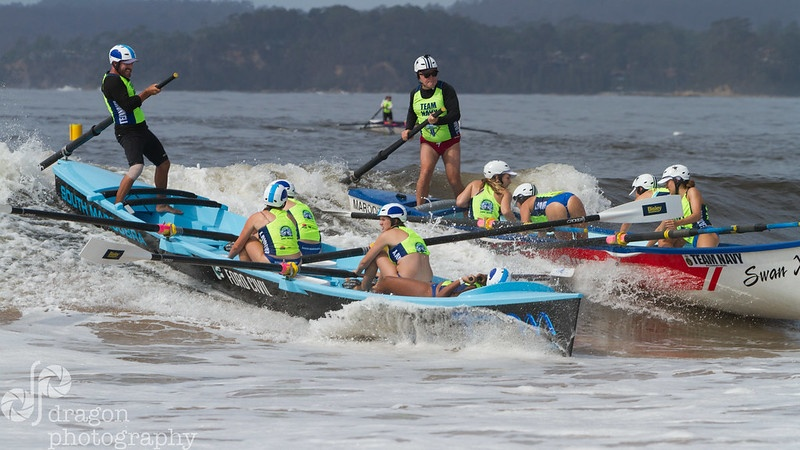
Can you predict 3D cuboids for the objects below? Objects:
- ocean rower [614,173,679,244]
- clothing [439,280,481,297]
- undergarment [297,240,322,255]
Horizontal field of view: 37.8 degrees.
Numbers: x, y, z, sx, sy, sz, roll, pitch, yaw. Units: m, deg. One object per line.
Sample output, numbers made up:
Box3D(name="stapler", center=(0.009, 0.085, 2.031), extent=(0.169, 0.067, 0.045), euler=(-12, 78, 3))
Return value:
Box3D(name="ocean rower", center=(11.614, -0.871, 55.855), extent=(1.659, 2.195, 3.022), euler=(8, 95, -32))
Box3D(name="clothing", center=(2.696, 2.858, 52.831), extent=(1.555, 0.748, 0.352), euler=(-5, 94, 11))
Box3D(name="undergarment", center=(-4.183, 1.042, 54.039), extent=(1.198, 0.620, 0.635), euler=(1, 101, -9))
